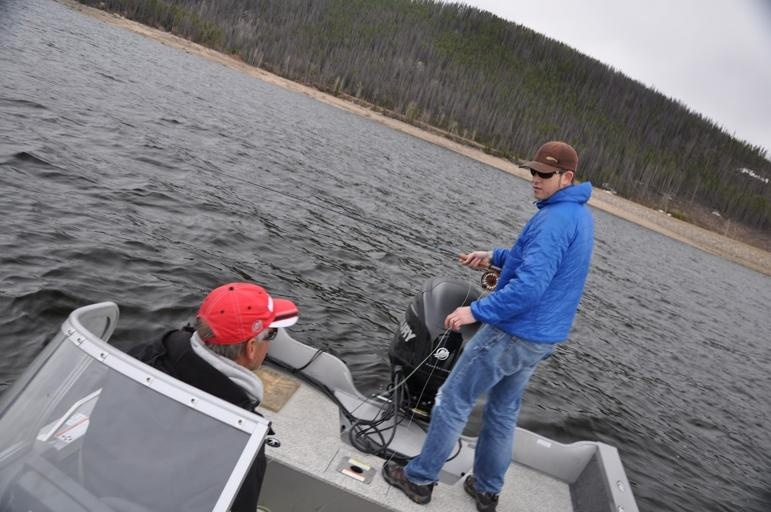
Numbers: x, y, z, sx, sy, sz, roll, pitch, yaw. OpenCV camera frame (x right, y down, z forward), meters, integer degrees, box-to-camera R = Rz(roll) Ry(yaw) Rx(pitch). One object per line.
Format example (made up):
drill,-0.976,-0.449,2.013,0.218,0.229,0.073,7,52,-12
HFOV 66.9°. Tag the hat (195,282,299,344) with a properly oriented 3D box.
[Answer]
hat,-1.094,0.385,4.588,0.867,0.336,0.551,-6,28,-34

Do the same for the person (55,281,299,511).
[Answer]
person,-1.561,1.123,4.458,1.100,1.798,0.782,43,27,23

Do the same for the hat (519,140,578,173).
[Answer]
hat,1.472,-0.887,5.295,0.425,0.237,0.289,7,15,-2
